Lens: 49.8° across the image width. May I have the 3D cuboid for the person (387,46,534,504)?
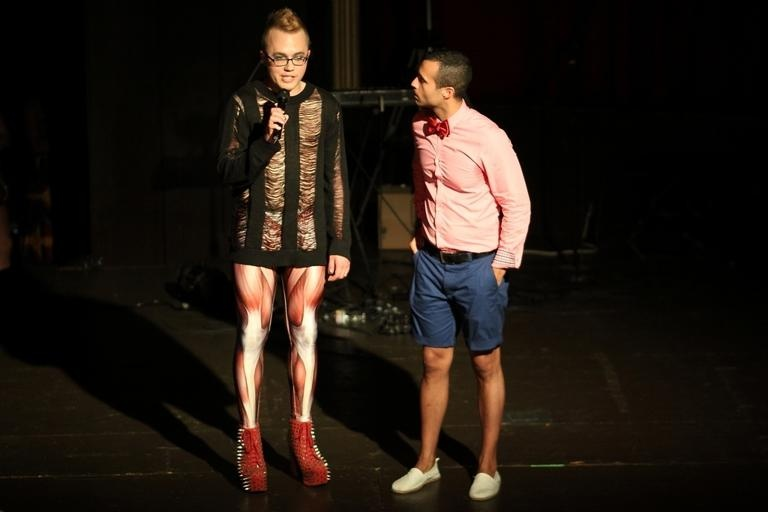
[{"bbox_3d":[0.564,0.135,5.793,0.831,3.070,0.796,2,15,5],"label":"person"}]

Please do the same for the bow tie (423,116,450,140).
[{"bbox_3d":[0.355,-0.890,5.729,0.187,0.152,0.084,7,9,38],"label":"bow tie"}]

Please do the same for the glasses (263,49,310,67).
[{"bbox_3d":[-0.666,-1.339,5.616,0.298,0.096,0.088,-1,14,-8],"label":"glasses"}]

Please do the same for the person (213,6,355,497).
[{"bbox_3d":[-0.672,-0.040,5.854,0.933,3.335,0.783,-5,16,-21],"label":"person"}]
